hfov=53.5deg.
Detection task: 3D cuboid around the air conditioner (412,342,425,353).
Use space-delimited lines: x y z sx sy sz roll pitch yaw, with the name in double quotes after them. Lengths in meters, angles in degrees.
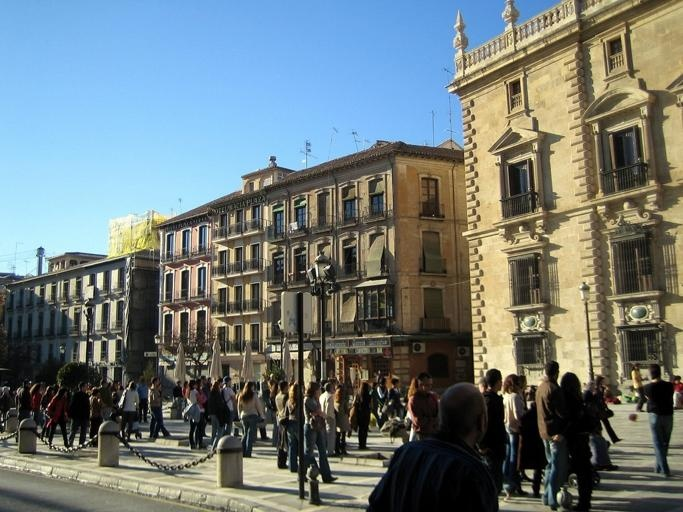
4.894 5.863 43.139 0.697 0.557 0.708 1 -7 -4 "air conditioner"
